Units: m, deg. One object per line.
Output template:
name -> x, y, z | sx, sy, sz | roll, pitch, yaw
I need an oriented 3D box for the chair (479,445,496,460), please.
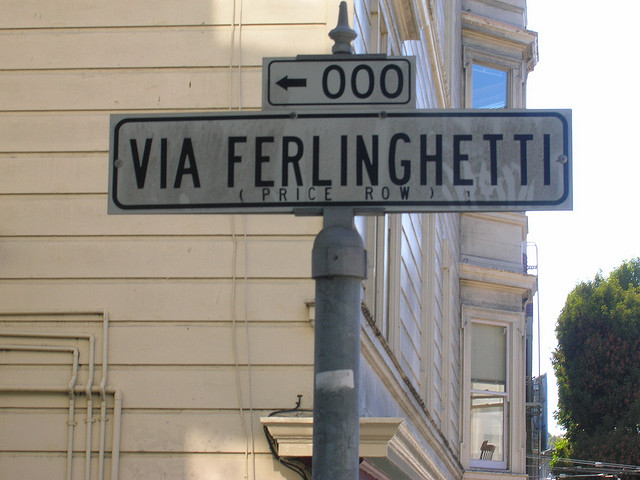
chair -> 3.075, 3.879, 33.805 | 0.231, 0.372, 0.248 | -1, -22, 33

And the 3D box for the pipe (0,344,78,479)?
pipe -> -3.588, 2.294, 23.774 | 1.402, 2.262, 0.100 | -1, -16, -1

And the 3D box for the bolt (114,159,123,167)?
bolt -> -2.301, -0.901, 21.155 | 0.092, 0.083, 0.030 | 2, -20, -12

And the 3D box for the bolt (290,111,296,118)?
bolt -> -0.307, -1.460, 21.131 | 0.040, 0.069, 0.021 | -1, -7, -6

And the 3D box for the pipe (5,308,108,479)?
pipe -> -3.356, 2.071, 23.788 | 1.726, 2.237, 0.102 | -1, -2, 7

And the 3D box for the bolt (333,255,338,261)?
bolt -> 0.176, 0.188, 20.941 | 0.050, 0.061, 0.018 | -1, -20, -3

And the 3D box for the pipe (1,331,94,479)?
pipe -> -3.473, 2.212, 23.777 | 1.539, 2.492, 0.090 | -1, -17, 1
